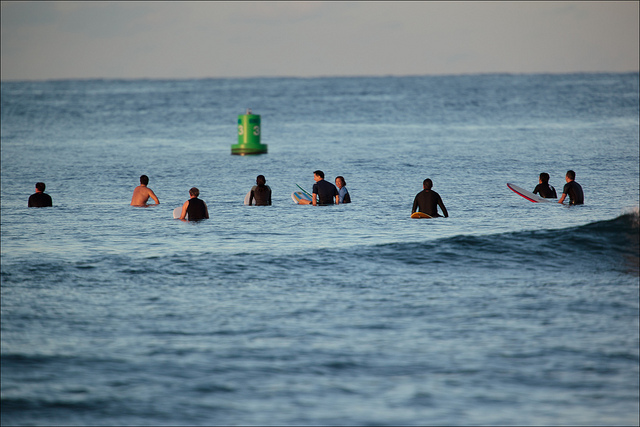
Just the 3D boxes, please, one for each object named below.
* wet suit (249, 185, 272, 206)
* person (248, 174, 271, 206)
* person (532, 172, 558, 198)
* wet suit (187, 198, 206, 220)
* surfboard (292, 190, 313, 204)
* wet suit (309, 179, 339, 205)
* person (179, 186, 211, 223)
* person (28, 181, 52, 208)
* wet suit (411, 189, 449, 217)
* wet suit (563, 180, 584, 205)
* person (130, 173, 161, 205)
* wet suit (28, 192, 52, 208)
[{"bbox_3d":[-2.108,-0.632,40.595,0.892,0.774,0.330,1,1,0],"label":"wet suit"},{"bbox_3d":[-2.132,-0.783,40.498,0.814,0.895,1.549,-2,-8,-3],"label":"person"},{"bbox_3d":[8.092,-1.030,40.985,0.804,1.032,2.318,-4,-8,10],"label":"person"},{"bbox_3d":[-4.119,-0.140,38.183,0.879,0.925,0.566,0,-4,-11],"label":"wet suit"},{"bbox_3d":[-0.618,-0.578,41.689,0.586,0.645,1.512,-1,-8,-8],"label":"surfboard"},{"bbox_3d":[0.229,-0.770,40.108,0.857,0.849,0.549,3,-10,-30],"label":"wet suit"},{"bbox_3d":[-4.223,-0.197,38.554,1.039,1.309,0.923,-7,7,-32],"label":"person"},{"bbox_3d":[-9.992,-0.716,40.815,0.809,0.893,1.638,0,-8,-15],"label":"person"},{"bbox_3d":[3.596,-0.330,37.463,1.175,0.895,0.896,-6,-9,25],"label":"wet suit"},{"bbox_3d":[8.949,-0.718,40.138,1.030,0.772,0.442,-14,12,-28],"label":"wet suit"},{"bbox_3d":[-6.780,-0.933,44.448,1.004,1.183,0.817,22,38,12],"label":"person"},{"bbox_3d":[-10.050,-0.457,41.099,1.037,0.649,0.505,0,0,-6],"label":"wet suit"}]
